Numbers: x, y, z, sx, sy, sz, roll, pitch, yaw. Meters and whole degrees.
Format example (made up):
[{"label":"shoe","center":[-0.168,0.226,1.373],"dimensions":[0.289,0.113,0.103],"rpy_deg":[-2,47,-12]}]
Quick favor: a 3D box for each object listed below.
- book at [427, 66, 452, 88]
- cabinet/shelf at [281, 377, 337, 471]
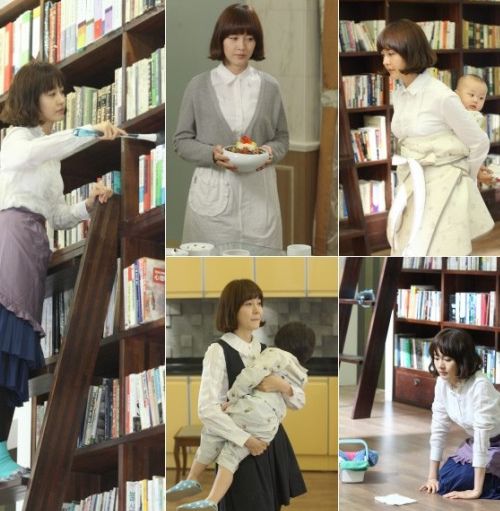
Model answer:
[{"label":"book","center":[0.671,-0.616,2.300],"dimensions":[0.078,0.088,0.062],"rpy_deg":[0,-2,-2]},{"label":"cabinet/shelf","center":[0.225,0.606,2.538],"dimensions":[0.193,0.359,0.206],"rpy_deg":[3,16,17]}]
